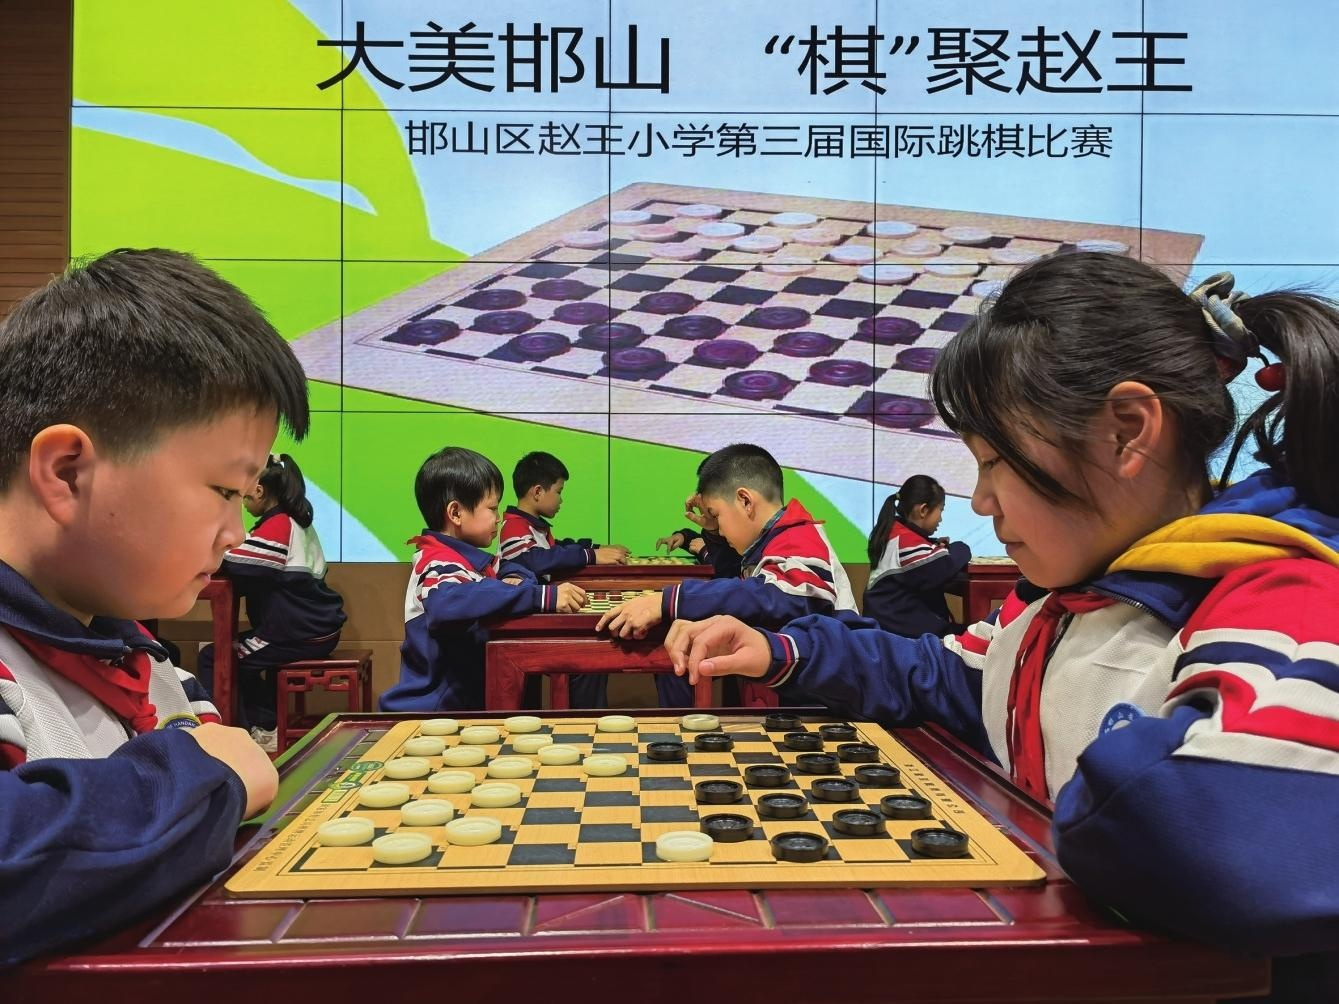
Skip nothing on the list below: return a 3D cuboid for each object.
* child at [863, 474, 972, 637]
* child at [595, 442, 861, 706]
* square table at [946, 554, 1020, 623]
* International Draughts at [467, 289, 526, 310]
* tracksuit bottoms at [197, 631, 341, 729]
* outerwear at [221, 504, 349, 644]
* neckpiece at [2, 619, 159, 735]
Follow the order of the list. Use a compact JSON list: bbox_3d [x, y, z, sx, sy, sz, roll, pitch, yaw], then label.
[{"bbox_3d":[1.300,0.260,5.165,0.664,0.709,0.590,-2,7,14],"label":"child"},{"bbox_3d":[0.228,0.223,3.782,1.142,0.553,1.353,3,18,6],"label":"child"},{"bbox_3d":[1.417,0.375,4.986,0.458,0.332,0.396,-1,2,-5],"label":"square table"},{"bbox_3d":[-0.874,-1.023,5.369,0.182,0.006,0.153,-8,35,-13],"label":"International Draughts"},{"bbox_3d":[-1.883,0.834,5.142,0.620,0.611,0.487,2,1,-10],"label":"tracksuit bottoms"},{"bbox_3d":[-1.711,0.331,4.702,0.613,0.550,0.701,-8,-8,9],"label":"outerwear"},{"bbox_3d":[-0.896,0.263,1.647,0.235,0.096,0.176,34,9,-27],"label":"neckpiece"}]
